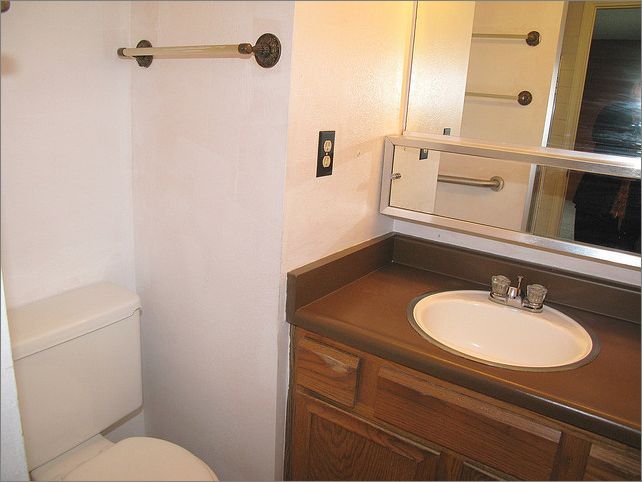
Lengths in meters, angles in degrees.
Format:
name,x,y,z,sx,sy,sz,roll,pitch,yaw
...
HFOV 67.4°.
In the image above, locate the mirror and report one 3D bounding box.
name,x,y,z,sx,sy,sz,roll,pitch,yaw
mirror,0.655,-0.376,1.601,0.814,0.912,0.036,8,11,35
